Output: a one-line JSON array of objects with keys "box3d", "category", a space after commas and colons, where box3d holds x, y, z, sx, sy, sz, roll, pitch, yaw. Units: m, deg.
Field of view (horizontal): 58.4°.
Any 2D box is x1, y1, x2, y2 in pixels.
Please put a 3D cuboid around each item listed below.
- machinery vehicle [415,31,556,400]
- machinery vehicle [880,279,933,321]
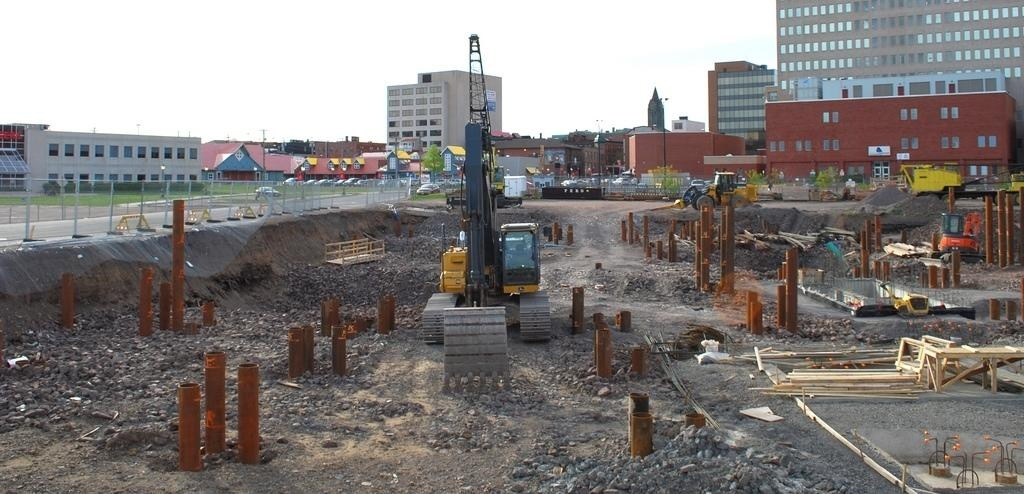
[{"box3d": [-1.810, -1.767, 57.084, 6.798, 18.596, 13.063, -3, 7, 1], "category": "machinery vehicle"}, {"box3d": [25.982, 3.614, 60.842, 1.394, 1.532, 4.237, -1, 4, 2], "category": "machinery vehicle"}]
